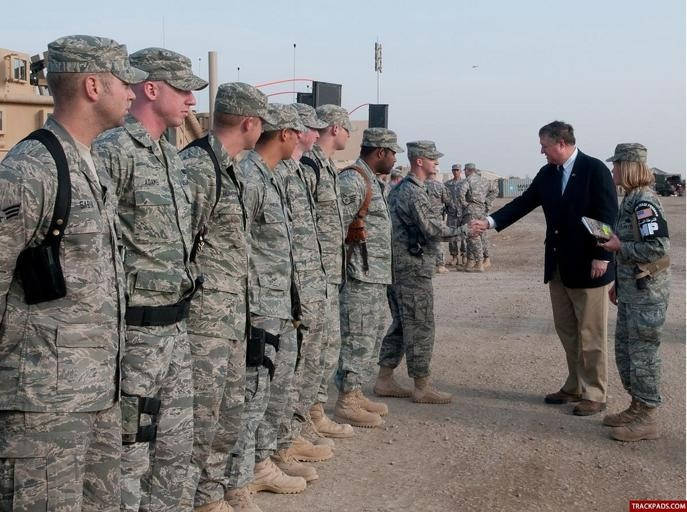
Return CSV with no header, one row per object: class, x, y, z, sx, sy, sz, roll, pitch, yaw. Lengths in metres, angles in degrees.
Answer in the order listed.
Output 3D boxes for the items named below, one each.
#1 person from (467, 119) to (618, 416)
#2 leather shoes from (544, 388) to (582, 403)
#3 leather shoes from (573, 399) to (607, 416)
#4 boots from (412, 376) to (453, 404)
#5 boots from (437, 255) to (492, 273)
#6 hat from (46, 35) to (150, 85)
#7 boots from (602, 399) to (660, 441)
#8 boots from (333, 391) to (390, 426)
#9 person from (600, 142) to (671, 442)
person,2.216,0.064,7.965,0.645,2.675,1.381,-3,9,-15
leather shoes,2.134,1.352,7.946,0.339,0.128,0.133,1,2,-1
leather shoes,2.270,1.414,7.626,0.357,0.145,0.122,3,-7,-24
boots,0.842,1.301,8.008,0.537,0.298,0.173,-3,4,0
boots,2.623,0.186,17.520,1.355,0.513,0.419,1,-2,-13
hat,-1.242,-1.005,4.252,0.588,0.227,0.358,6,10,-7
boots,2.395,1.376,6.971,0.353,0.316,0.463,-7,10,-39
boots,0.171,1.374,7.319,0.357,0.226,0.405,2,1,5
person,2.520,0.279,7.062,0.564,2.464,0.921,2,9,18
